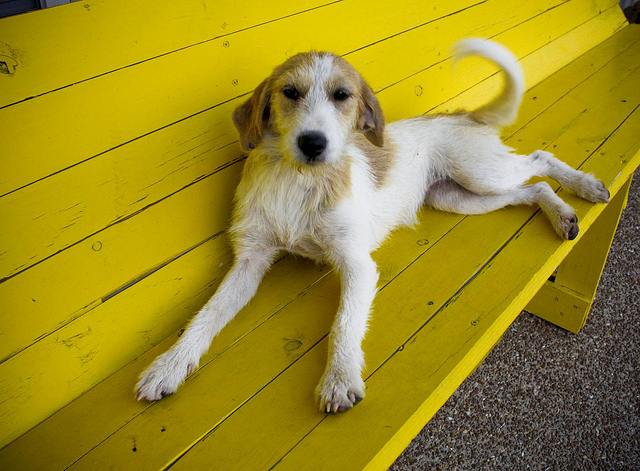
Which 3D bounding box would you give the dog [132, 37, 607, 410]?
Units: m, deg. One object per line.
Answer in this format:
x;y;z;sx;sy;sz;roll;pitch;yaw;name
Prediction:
0.331;-0.297;2.479;2.487;1.403;1.010;-24;30;-33;dog
